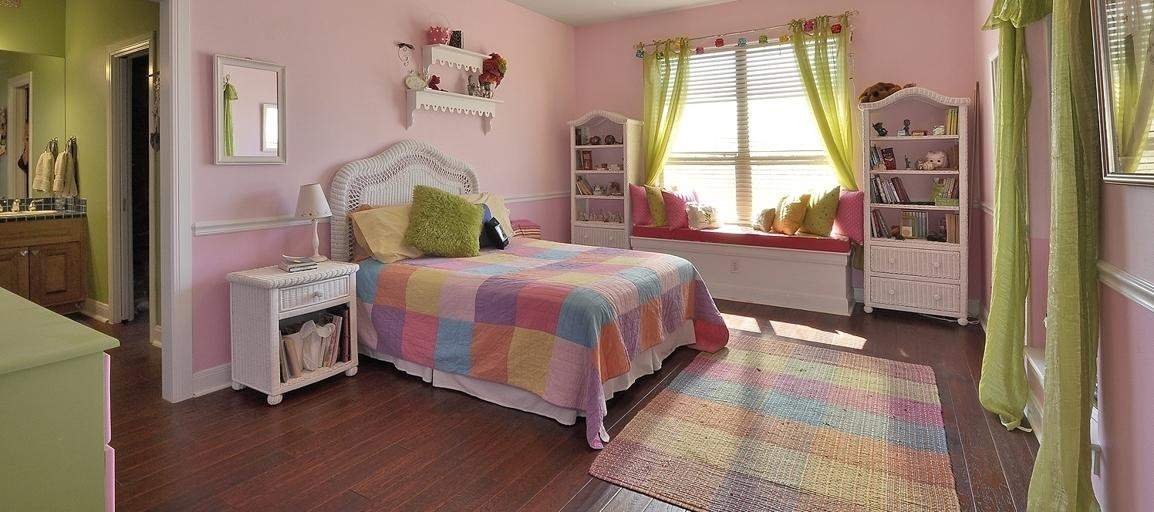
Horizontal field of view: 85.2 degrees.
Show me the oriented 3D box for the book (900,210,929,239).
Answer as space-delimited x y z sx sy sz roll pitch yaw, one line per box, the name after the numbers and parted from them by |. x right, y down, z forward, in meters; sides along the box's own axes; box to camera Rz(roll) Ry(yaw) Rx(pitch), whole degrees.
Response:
4.485 -0.431 8.401 0.314 0.350 0.192 4 13 20 | book

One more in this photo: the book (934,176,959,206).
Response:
4.844 -0.846 8.282 0.413 0.418 0.382 3 8 18 | book

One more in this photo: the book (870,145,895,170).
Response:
4.099 -1.334 8.486 0.384 0.308 0.085 2 1 3 | book

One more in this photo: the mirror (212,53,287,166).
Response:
-3.740 -1.652 7.073 0.750 1.031 0.055 -1 10 -4 | mirror

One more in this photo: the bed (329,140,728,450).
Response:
-0.972 0.110 7.944 4.647 2.448 3.126 7 15 28 | bed

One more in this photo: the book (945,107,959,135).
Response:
4.868 -1.781 8.195 0.128 0.353 0.188 3 13 18 | book

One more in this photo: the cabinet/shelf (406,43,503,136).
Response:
-1.673 -2.262 8.509 0.348 1.137 1.337 9 15 39 | cabinet/shelf

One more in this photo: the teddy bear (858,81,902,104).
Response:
4.041 -2.222 8.480 0.407 0.130 0.399 -24 13 -34 | teddy bear

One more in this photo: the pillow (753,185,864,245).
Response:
3.310 -0.576 8.725 1.732 0.653 0.820 -1 22 43 | pillow
